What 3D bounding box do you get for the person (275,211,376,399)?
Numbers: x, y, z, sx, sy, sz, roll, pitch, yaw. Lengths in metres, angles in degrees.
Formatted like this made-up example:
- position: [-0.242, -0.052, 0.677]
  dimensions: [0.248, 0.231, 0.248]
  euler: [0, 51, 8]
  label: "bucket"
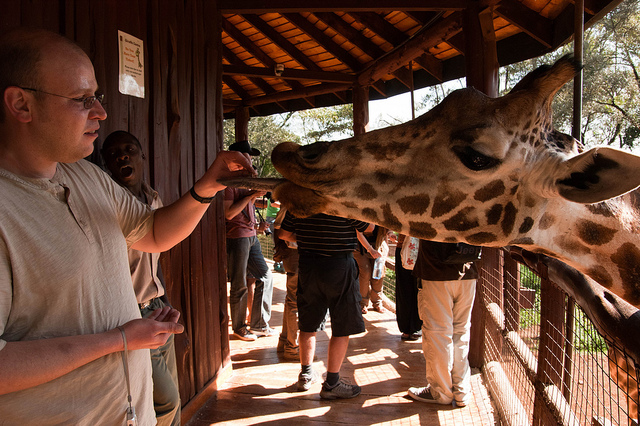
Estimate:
- position: [-0.004, 0.528, 4.780]
  dimensions: [0.870, 2.815, 0.831]
  euler: [0, 13, 1]
  label: "person"
